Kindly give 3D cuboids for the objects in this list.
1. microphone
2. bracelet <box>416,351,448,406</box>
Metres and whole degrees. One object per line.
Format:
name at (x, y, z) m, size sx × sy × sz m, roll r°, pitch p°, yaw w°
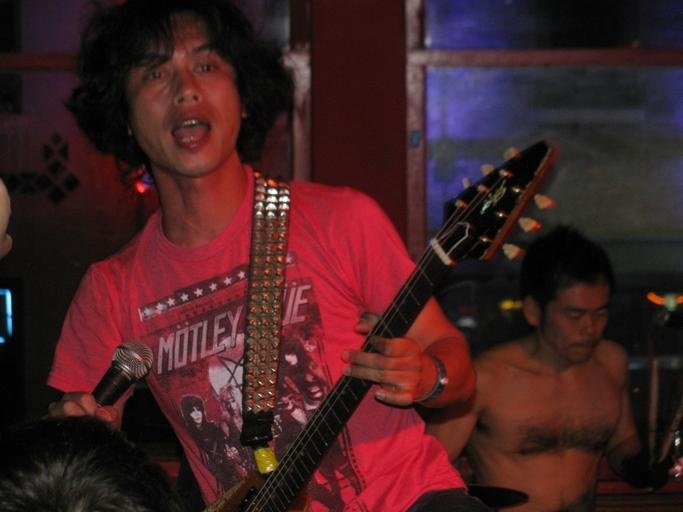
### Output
microphone at (-0.798, 0.433, 3.381) m, size 0.131 × 0.132 × 0.296 m, roll 14°, pitch 44°, yaw 40°
bracelet at (0.348, 0.462, 3.364) m, size 0.120 × 0.185 × 0.079 m, roll -3°, pitch 7°, yaw -44°
